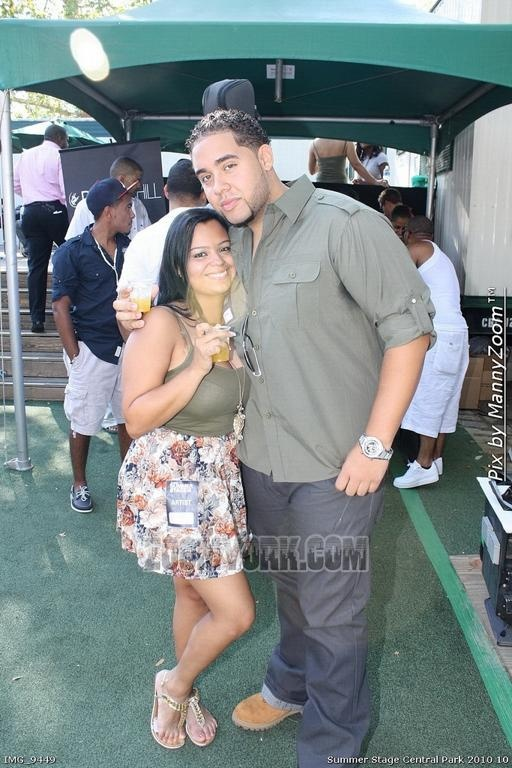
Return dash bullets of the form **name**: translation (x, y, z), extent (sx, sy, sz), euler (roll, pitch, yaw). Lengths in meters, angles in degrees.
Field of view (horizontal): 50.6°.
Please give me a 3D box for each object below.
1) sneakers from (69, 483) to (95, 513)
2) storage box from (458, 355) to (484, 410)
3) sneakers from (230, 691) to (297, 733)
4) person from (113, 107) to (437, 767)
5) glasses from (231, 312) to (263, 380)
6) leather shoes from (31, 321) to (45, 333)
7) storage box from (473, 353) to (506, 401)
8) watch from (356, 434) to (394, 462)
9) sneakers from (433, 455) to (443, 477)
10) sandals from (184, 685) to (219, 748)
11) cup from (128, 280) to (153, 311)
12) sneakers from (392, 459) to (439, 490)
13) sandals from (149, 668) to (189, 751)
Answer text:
- **sneakers**: translation (-1.228, 0.809, 3.828), extent (0.104, 0.103, 0.232), euler (0, 10, -23)
- **storage box**: translation (2.538, -0.013, 6.718), extent (0.215, 0.590, 0.624), euler (8, -4, -3)
- **sneakers**: translation (0.014, 1.177, 1.979), extent (0.241, 0.109, 0.095), euler (3, 44, -18)
- **person**: translation (0.149, 0.172, 1.526), extent (0.639, 1.805, 0.297), euler (7, 13, 32)
- **glasses**: translation (-0.025, -0.101, 1.509), extent (0.106, 0.159, 0.039), euler (-19, -2, -3)
- **leather shoes**: translation (-2.810, -0.729, 6.954), extent (0.149, 0.143, 0.112), euler (-3, 11, -19)
- **storage box**: translation (2.720, -0.063, 6.365), extent (0.308, 0.567, 0.292), euler (11, 15, 44)
- **watch**: translation (0.283, 0.153, 1.294), extent (0.077, 0.049, 0.074), euler (35, 3, 16)
- **sneakers**: translation (1.464, 0.645, 4.343), extent (0.076, 0.096, 0.226), euler (-2, 14, 2)
- **sandals**: translation (-0.190, 1.172, 1.913), extent (0.074, 0.067, 0.184), euler (-1, 5, -11)
- **cup**: translation (-0.349, -0.270, 1.653), extent (0.094, 0.105, 0.097), euler (1, 4, 0)
- **sneakers**: translation (1.262, 0.701, 4.332), extent (0.454, 0.194, 0.161), euler (-11, 7, -1)
- **sandals**: translation (-0.300, 1.139, 1.934), extent (0.115, 0.114, 0.248), euler (12, 47, -30)
